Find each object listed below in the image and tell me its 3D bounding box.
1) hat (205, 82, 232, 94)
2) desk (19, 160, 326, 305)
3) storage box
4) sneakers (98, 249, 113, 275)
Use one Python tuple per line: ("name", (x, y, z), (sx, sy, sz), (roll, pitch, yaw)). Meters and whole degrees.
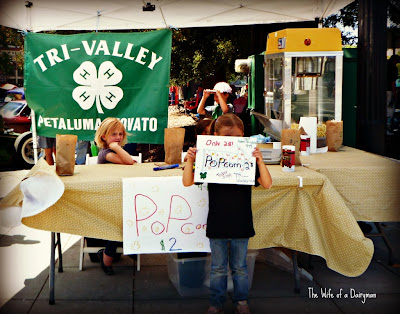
("hat", (0.352, -1.103, 5.417), (0.362, 0.166, 0.338), (-4, 10, -20))
("desk", (-0.248, 0.602, 3.069), (1.987, 0.499, 1.178), (2, 2, -6))
("storage box", (0.060, 1.036, 3.241), (0.600, 0.291, 0.475), (0, 1, -7))
("sneakers", (-1.007, 1.132, 3.623), (0.114, 0.314, 0.115), (-20, -5, 10))
